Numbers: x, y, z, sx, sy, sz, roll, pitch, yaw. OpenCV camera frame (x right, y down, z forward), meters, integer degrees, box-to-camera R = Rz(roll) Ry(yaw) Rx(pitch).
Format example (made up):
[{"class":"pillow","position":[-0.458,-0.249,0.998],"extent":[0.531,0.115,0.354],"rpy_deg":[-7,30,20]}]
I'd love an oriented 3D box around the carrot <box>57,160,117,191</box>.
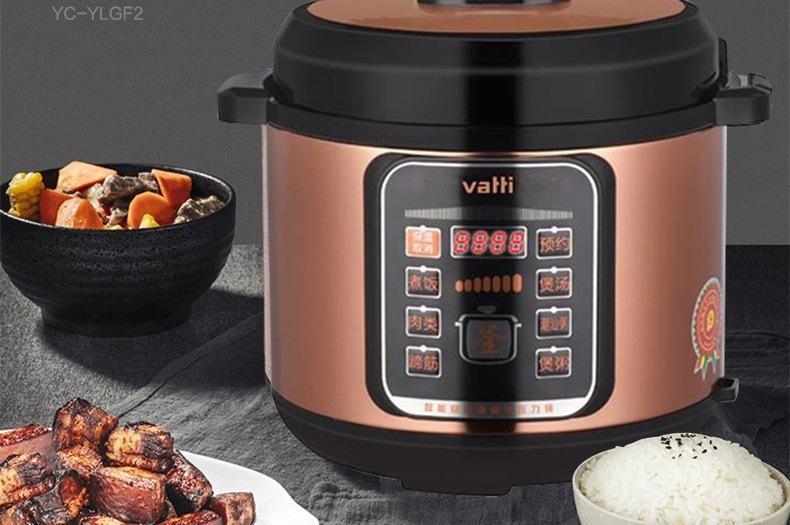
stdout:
[{"class":"carrot","position":[-0.450,-0.122,1.120],"extent":[0.068,0.015,0.055],"rpy_deg":[-8,33,1]}]

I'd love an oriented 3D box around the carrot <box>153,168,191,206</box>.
[{"class":"carrot","position":[-0.325,-0.102,1.090],"extent":[0.052,0.043,0.043],"rpy_deg":[6,15,-45]}]
